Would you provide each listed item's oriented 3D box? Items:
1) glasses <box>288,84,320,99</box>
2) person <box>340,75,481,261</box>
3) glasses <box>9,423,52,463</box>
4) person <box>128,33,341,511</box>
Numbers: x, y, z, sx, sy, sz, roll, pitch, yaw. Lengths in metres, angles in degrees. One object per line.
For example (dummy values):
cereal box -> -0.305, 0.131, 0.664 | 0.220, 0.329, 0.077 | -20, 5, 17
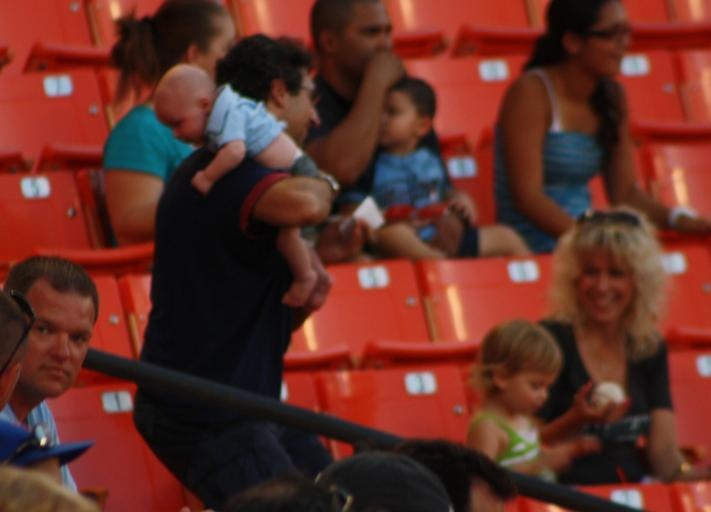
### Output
glasses -> -0.171, -0.510, 2.686 | 0.099, 0.032, 0.099 | -6, 4, 14
person -> 0.236, -0.360, 3.545 | 0.607, 0.755, 0.608 | 0, 3, 18
glasses -> -0.697, 0.402, 1.882 | 0.033, 0.083, 0.063 | 47, 5, -8
person -> -0.320, 0.013, 2.532 | 0.580, 1.152, 0.347 | 4, -2, -15
